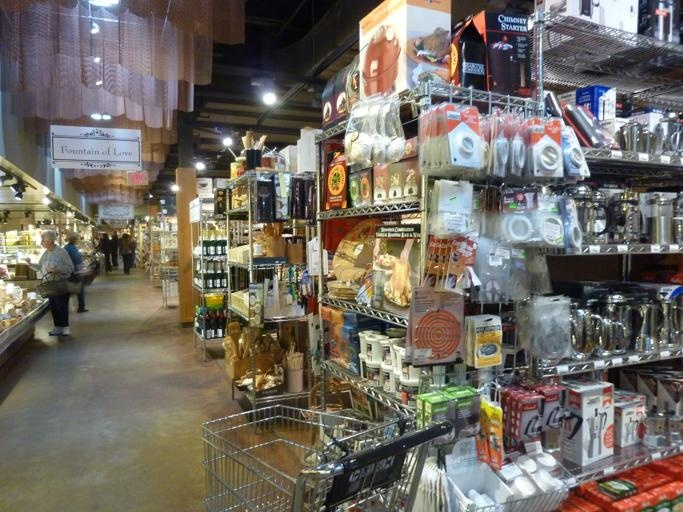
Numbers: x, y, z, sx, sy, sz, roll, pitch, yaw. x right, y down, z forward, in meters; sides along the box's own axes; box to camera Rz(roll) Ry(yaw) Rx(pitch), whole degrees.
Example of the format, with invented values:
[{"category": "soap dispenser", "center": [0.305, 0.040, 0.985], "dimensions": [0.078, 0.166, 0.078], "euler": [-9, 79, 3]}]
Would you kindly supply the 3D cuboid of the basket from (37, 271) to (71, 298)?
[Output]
[{"category": "basket", "center": [-4.572, 0.461, 8.663], "dimensions": [0.380, 0.360, 0.157], "euler": [-1, -20, -29]}]
